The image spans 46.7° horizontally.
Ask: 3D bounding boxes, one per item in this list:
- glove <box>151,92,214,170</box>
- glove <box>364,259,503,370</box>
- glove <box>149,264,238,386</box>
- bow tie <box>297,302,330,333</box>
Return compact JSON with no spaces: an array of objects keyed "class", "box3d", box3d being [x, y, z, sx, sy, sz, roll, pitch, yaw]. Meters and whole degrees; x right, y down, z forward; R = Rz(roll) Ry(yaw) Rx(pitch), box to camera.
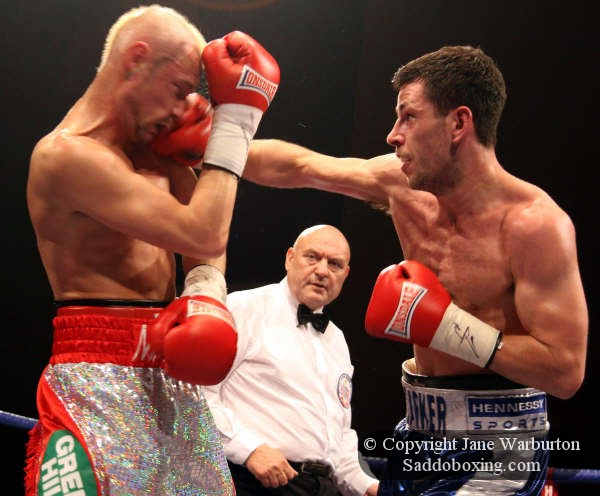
[{"class":"glove","box3d":[-0.420,-0.422,2.471,0.162,0.215,0.204,48,-20,-9]},{"class":"glove","box3d":[0.540,0.274,2.666,0.489,0.316,0.175,23,-4,20]},{"class":"glove","box3d":[-0.363,0.243,2.528,0.316,0.218,0.593,12,29,-5]},{"class":"bow tie","box3d":[0.062,0.367,3.639,0.149,0.099,0.037,24,-21,-14]}]
